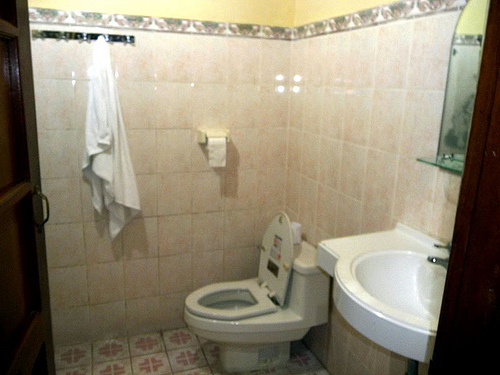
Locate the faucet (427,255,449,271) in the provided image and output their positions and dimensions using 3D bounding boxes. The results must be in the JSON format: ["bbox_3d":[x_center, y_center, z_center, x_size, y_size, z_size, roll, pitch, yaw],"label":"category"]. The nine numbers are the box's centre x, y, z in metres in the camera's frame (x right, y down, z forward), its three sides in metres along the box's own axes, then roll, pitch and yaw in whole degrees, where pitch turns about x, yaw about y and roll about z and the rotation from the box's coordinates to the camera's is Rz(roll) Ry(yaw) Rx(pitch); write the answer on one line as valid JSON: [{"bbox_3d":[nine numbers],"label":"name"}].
[{"bbox_3d":[0.737,0.291,1.654,0.075,0.028,0.033,17,25,42],"label":"faucet"}]

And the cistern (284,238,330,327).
[{"bbox_3d":[0.310,0.542,2.460,0.212,0.440,0.294,-8,19,-21],"label":"cistern"}]

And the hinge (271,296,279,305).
[{"bbox_3d":[0.149,0.682,2.497,0.013,0.035,0.065,4,8,-17],"label":"hinge"}]

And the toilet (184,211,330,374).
[{"bbox_3d":[-0.015,0.588,2.847,0.938,1.175,0.742,-1,10,-13],"label":"toilet"}]
